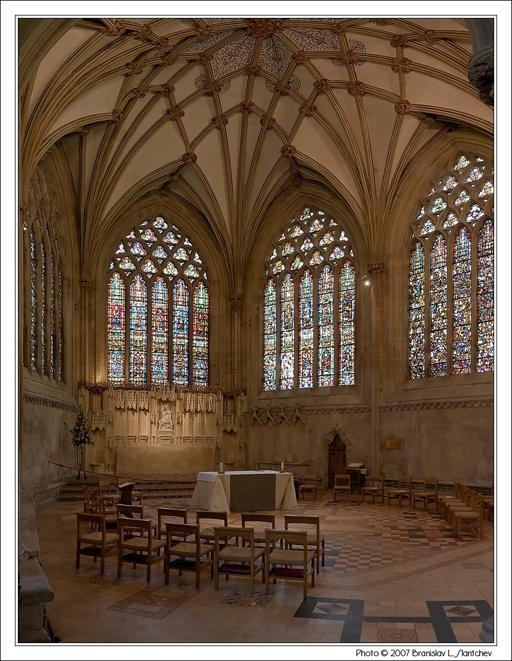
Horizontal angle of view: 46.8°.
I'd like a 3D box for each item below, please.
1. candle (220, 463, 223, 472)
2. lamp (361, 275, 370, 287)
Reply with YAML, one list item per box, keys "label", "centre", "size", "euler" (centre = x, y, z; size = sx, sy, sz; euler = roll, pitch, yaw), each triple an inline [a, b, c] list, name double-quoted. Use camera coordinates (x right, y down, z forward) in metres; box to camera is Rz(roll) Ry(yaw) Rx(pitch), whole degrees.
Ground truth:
- label: "candle"
  centre: [-0.787, 3.217, 13.799]
  size: [0.082, 0.228, 0.302]
  euler: [-1, -5, -6]
- label: "lamp"
  centre: [3.766, -1.678, 20.031]
  size: [0.294, 0.316, 0.298]
  euler: [-3, -20, 17]
